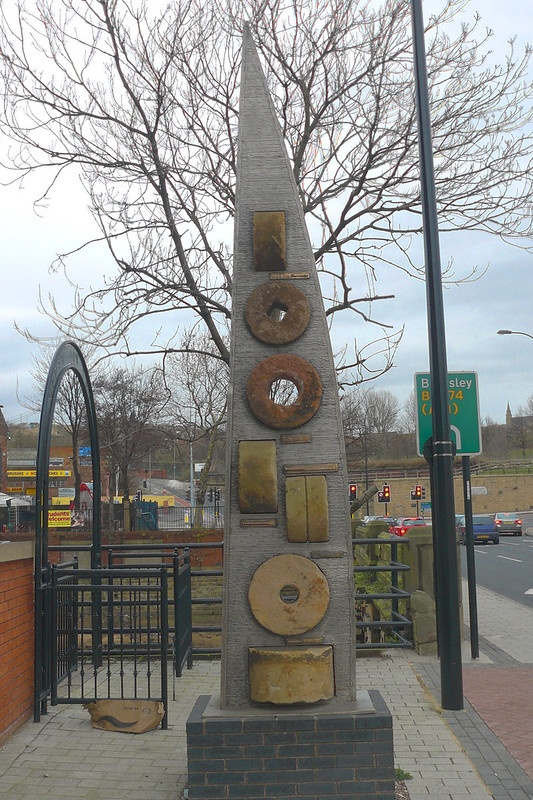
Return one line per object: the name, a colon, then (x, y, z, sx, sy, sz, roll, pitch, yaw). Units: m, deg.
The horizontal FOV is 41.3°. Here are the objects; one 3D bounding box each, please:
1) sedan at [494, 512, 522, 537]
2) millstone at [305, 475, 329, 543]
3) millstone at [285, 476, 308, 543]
sedan: (13.889, 7.230, 40.992, 1.094, 0.947, 2.603, 0, -1, 9)
millstone: (0.269, 0.590, 3.814, 0.113, 0.357, 0.048, -4, -5, 2)
millstone: (0.162, 0.592, 3.807, 0.119, 0.353, 0.046, -4, -5, 0)
